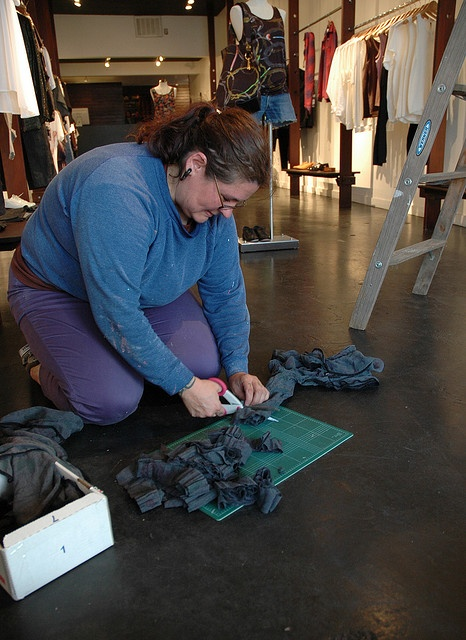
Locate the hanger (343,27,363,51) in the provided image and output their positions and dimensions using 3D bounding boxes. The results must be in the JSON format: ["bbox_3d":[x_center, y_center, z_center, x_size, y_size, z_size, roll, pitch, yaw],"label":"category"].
[{"bbox_3d":[1.301,-3.068,5.349,0.117,0.282,0.222,10,19,-9],"label":"hanger"}]

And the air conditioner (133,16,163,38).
[{"bbox_3d":[-1.935,-6.743,11.188,0.567,0.467,0.126,-6,14,-14],"label":"air conditioner"}]

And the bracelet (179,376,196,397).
[{"bbox_3d":[-0.124,0.181,1.357,0.019,0.050,0.039,45,8,3],"label":"bracelet"}]

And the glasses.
[{"bbox_3d":[-0.027,-0.327,1.131,0.033,0.107,0.108,-14,0,23],"label":"glasses"}]

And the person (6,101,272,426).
[{"bbox_3d":[-0.295,-0.110,1.413,0.748,0.930,0.531,-7,25,-7],"label":"person"}]

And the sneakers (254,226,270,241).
[{"bbox_3d":[0.250,-0.782,4.373,0.081,0.088,0.230,-26,25,0],"label":"sneakers"}]

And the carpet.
[{"bbox_3d":[0.047,0.345,1.326,0.526,0.082,0.347,-22,30,-38],"label":"carpet"}]
